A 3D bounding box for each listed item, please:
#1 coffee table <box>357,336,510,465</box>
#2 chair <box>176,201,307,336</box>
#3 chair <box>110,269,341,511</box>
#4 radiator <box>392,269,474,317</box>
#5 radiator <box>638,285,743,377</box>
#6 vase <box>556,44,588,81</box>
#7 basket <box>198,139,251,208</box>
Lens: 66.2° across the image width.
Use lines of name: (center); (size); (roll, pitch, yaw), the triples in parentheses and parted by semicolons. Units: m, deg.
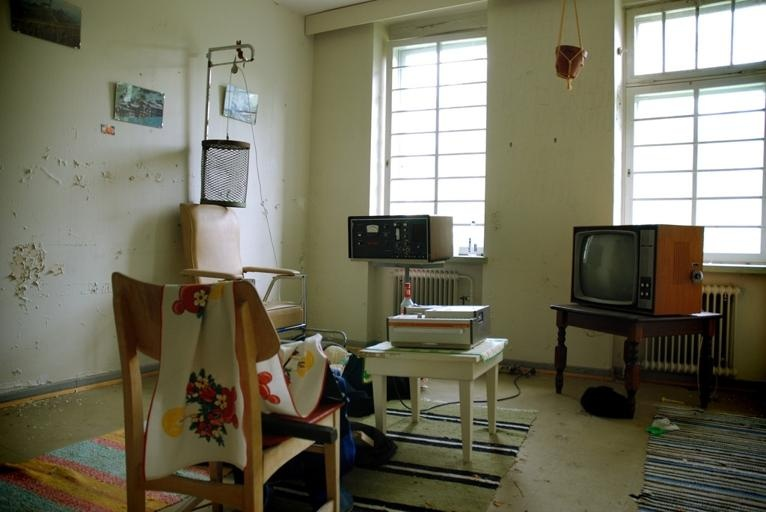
coffee table: (0.375, 0.777, 3.890); (0.861, 0.690, 0.766); (-2, -2, 31)
chair: (-1.240, 0.124, 5.245); (1.120, 1.459, 1.014); (-3, -3, 33)
chair: (-0.759, 0.676, 2.812); (1.017, 1.153, 0.483); (-2, 15, -11)
radiator: (0.479, 0.318, 5.203); (0.451, 0.424, 0.101); (1, 2, 24)
radiator: (2.455, 0.578, 4.624); (0.770, 0.809, 0.108); (1, 1, 40)
vase: (1.392, -1.437, 4.385); (0.175, 0.260, 0.177); (-12, 19, -41)
basket: (-1.361, -0.703, 5.053); (0.416, 0.567, 0.185); (-4, 15, -19)
